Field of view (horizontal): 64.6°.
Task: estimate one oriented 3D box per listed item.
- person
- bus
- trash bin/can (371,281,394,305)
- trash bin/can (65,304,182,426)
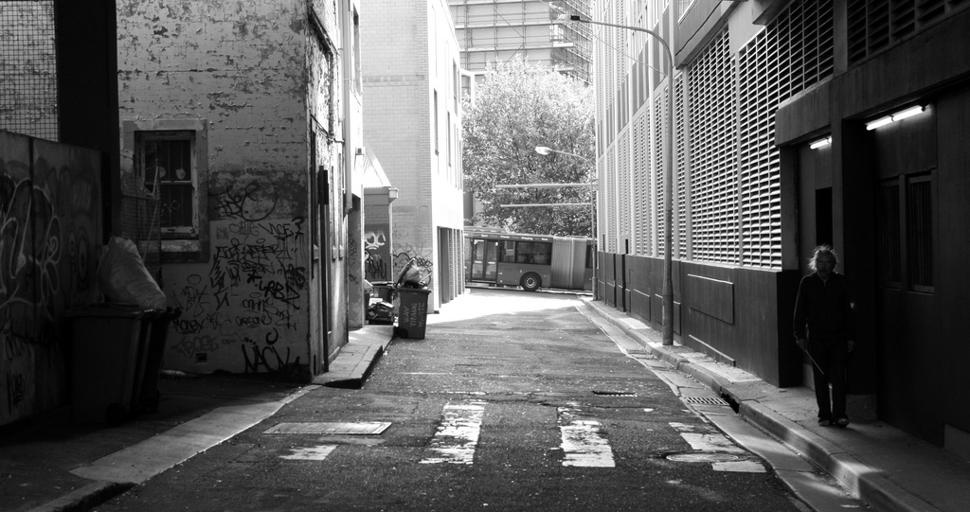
[{"bbox_3d":[6.027,1.423,13.631,0.956,3.294,0.365,1,0,24],"label":"person"},{"bbox_3d":[3.304,0.562,55.783,11.116,4.140,3.470,4,-5,39],"label":"bus"},{"bbox_3d":[-3.895,1.376,29.900,1.051,0.526,1.339,2,3,8],"label":"trash bin/can"},{"bbox_3d":[-6.803,1.973,14.448,1.961,2.127,1.764,-1,-4,4],"label":"trash bin/can"}]
